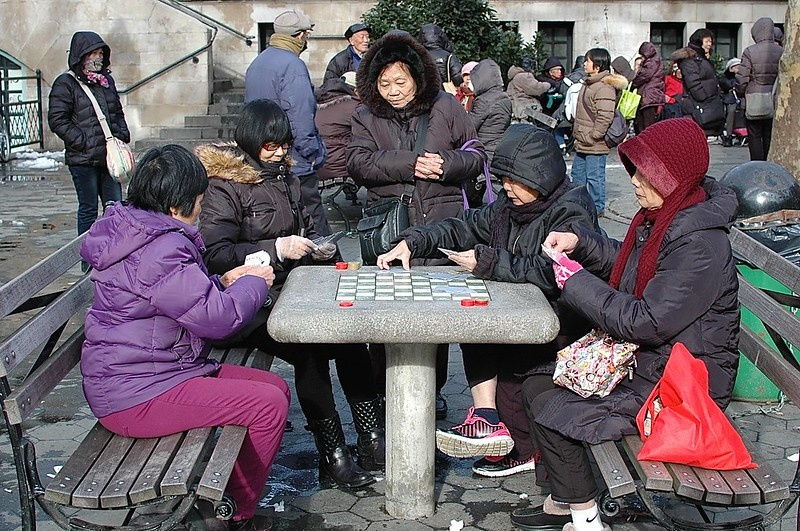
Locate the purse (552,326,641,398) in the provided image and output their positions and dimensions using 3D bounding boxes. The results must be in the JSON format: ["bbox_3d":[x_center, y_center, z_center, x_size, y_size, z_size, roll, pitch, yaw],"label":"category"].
[{"bbox_3d":[1.027,0.495,3.391,0.411,0.121,0.332,-40,39,-24],"label":"purse"}]

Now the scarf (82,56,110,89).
[{"bbox_3d":[-3.838,-2.425,8.302,0.157,0.300,0.232,-1,8,25],"label":"scarf"}]

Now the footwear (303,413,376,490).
[{"bbox_3d":[-0.364,1.156,4.093,0.212,0.412,0.555,-10,5,-41],"label":"footwear"}]

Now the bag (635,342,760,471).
[{"bbox_3d":[1.406,0.711,2.986,0.342,0.518,0.496,5,-3,-3],"label":"bag"}]

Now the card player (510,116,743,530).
[{"bbox_3d":[1.171,0.361,3.497,1.042,2.227,0.919,-6,13,-23],"label":"card player"}]

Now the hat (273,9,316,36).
[{"bbox_3d":[-1.204,-2.778,7.649,0.325,0.180,0.427,32,47,33],"label":"hat"}]

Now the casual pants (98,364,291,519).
[{"bbox_3d":[-0.954,1.111,3.517,0.670,0.360,1.677,-2,13,-4],"label":"casual pants"}]

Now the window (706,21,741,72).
[{"bbox_3d":[12.013,-8.402,24.922,1.342,0.210,2.414,13,46,14],"label":"window"}]

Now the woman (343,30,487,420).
[{"bbox_3d":[0.104,-0.347,5.315,1.197,2.829,0.938,-5,9,-33],"label":"woman"}]

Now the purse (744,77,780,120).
[{"bbox_3d":[6.509,-3.038,11.867,0.575,0.782,0.840,10,24,21],"label":"purse"}]
